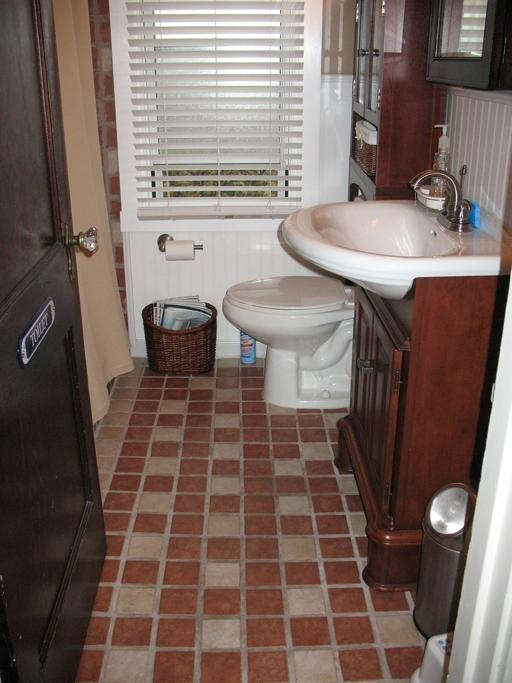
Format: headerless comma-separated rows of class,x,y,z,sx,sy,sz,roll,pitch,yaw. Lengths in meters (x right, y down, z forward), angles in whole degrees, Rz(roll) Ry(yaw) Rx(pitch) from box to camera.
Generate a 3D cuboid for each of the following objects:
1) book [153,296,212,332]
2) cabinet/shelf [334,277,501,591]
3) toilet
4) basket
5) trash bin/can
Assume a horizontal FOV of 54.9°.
book,-0.379,-0.139,2.509,0.210,0.194,0.079,-5,24,-21
cabinet/shelf,0.372,0.195,1.377,0.233,0.902,0.548,-7,25,-13
toilet,0.138,-0.013,2.372,0.539,0.513,0.500,1,31,1
basket,-0.396,-0.013,2.569,0.378,0.353,0.230,-3,25,-5
trash bin/can,0.432,0.546,1.179,0.100,0.443,0.122,10,25,23
